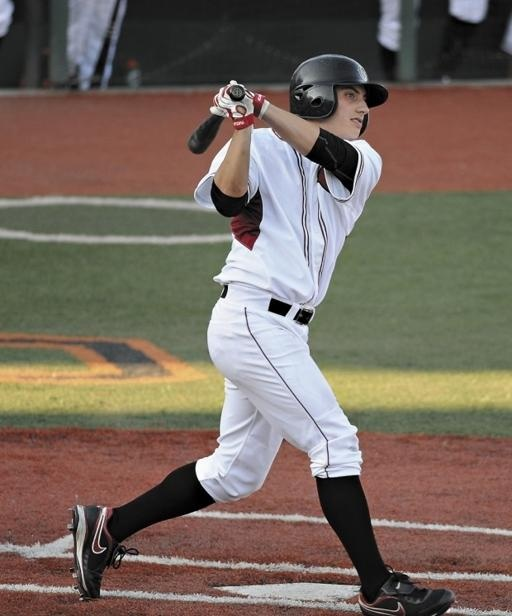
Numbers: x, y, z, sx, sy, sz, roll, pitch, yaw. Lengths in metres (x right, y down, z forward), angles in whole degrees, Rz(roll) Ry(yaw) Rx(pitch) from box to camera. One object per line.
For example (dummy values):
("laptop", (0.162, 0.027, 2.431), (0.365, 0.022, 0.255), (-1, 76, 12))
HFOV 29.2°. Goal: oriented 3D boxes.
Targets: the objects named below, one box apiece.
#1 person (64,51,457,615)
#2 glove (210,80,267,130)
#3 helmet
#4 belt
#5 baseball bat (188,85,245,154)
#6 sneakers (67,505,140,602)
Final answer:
("person", (-0.011, 0.121, 2.938), (0.964, 1.726, 0.903), (4, 22, -9))
("glove", (-0.069, -0.584, 2.831), (0.119, 0.067, 0.186), (0, 16, -36))
("helmet", (0.247, -0.673, 3.031), (0.308, 0.177, 0.244), (3, 0, -17))
("belt", (0.047, -0.001, 2.954), (0.195, 0.041, 0.195), (12, -7, 33))
("baseball bat", (-0.102, -0.577, 2.982), (0.093, 0.082, 0.355), (10, 33, 19))
("sneakers", (-0.509, 0.762, 3.117), (0.214, 0.307, 0.116), (-4, -7, -6))
